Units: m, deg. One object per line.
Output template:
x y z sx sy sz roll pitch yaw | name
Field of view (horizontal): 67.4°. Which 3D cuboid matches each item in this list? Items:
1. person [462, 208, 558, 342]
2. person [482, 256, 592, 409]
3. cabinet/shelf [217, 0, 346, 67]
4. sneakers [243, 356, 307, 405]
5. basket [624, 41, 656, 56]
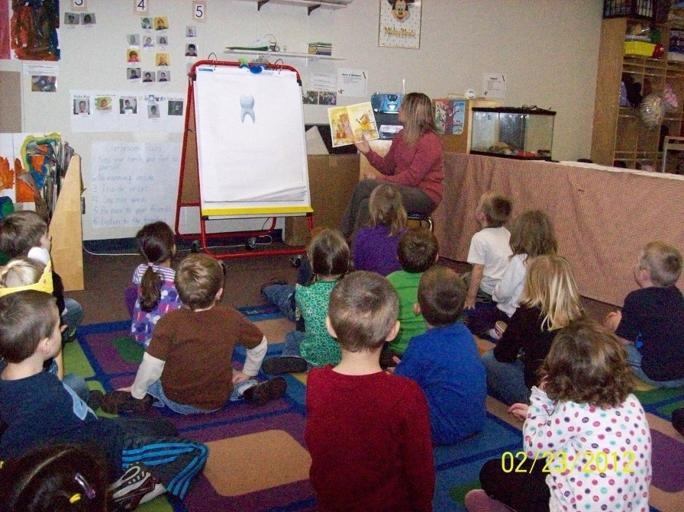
1.001 0.099 3.030 0.418 0.775 0.404 16 19 37 | person
0.919 0.379 2.317 0.494 0.775 0.450 -2 10 -4 | person
-0.487 -2.147 4.896 1.275 0.628 0.327 -7 14 -28 | cabinet/shelf
-0.326 0.554 2.522 0.346 0.122 0.243 -32 10 -17 | sneakers
3.851 -2.652 6.574 0.491 0.183 0.155 -7 14 -27 | basket
